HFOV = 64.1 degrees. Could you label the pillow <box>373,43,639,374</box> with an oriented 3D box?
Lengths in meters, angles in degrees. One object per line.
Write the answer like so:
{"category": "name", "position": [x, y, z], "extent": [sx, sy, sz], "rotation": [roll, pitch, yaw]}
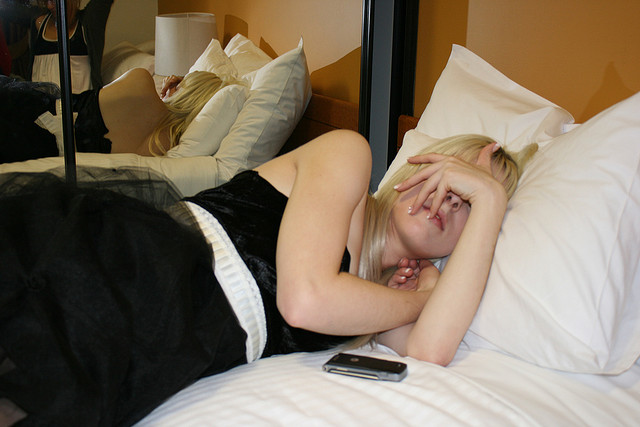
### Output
{"category": "pillow", "position": [0.629, 0.016, 1.791], "extent": [0.840, 0.865, 0.282], "rotation": [31, -2, 18]}

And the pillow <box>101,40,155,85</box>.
{"category": "pillow", "position": [-0.847, -0.636, 2.263], "extent": [0.229, 0.291, 0.070], "rotation": [-7, 43, -28]}

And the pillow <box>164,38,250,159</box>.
{"category": "pillow", "position": [-0.467, -0.453, 2.330], "extent": [0.123, 0.452, 0.450], "rotation": [19, 19, -29]}

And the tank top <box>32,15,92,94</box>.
{"category": "tank top", "position": [-1.111, -0.692, 2.190], "extent": [0.191, 0.408, 0.282], "rotation": [-8, 8, -17]}

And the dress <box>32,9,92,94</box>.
{"category": "dress", "position": [-1.078, -0.673, 2.093], "extent": [0.218, 0.347, 0.184], "rotation": [8, 15, 9]}
